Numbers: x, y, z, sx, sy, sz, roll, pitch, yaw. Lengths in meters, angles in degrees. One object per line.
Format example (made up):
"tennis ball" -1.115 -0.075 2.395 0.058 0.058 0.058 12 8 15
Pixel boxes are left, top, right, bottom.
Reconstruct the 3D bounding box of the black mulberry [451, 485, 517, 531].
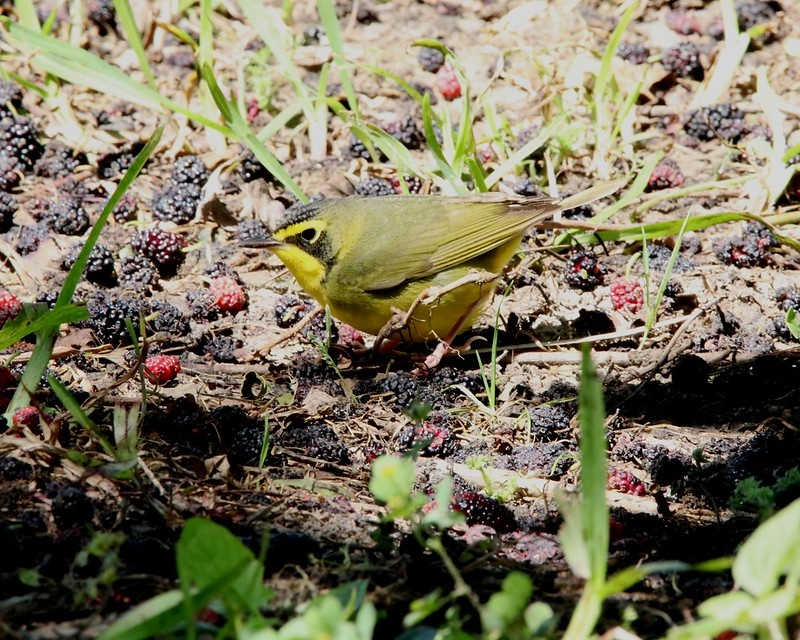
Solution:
"black mulberry" 0.362 0.817 3.598 0.266 0.176 0.199 -1 48 6

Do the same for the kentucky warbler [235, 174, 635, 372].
"kentucky warbler" 0.136 -0.380 5.189 1.443 0.710 1.298 -35 53 -25
